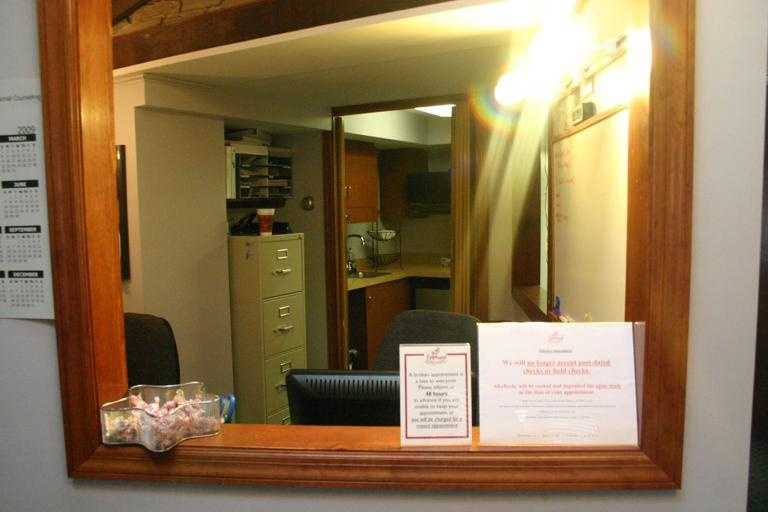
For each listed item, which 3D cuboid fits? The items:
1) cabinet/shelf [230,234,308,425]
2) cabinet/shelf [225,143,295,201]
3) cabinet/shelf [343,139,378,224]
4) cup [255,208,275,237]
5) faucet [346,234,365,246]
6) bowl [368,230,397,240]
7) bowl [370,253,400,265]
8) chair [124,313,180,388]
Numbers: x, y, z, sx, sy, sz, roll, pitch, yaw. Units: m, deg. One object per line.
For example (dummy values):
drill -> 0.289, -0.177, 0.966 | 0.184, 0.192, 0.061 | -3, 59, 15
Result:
cabinet/shelf -> -0.799, 0.526, 4.839 | 0.582, 1.378, 0.285 | -3, 4, -43
cabinet/shelf -> -0.974, -0.627, 5.128 | 0.216, 0.379, 0.769 | 4, 8, 33
cabinet/shelf -> -0.279, -0.776, 6.447 | 0.274, 0.691, 0.733 | -1, 9, 2
cup -> -0.824, -0.240, 4.705 | 0.098, 0.189, 0.157 | -1, 3, -9
faucet -> -0.267, -0.167, 6.776 | 0.081, 0.117, 0.292 | 0, 2, 24
bowl -> -0.011, -0.217, 6.975 | 0.302, 0.122, 0.582 | -1, 2, 0
bowl -> 0.016, 0.038, 7.142 | 0.080, 0.133, 0.516 | 1, 3, 31
chair -> -1.176, 0.470, 3.395 | 0.335, 0.367, 0.158 | 1, 3, 29
